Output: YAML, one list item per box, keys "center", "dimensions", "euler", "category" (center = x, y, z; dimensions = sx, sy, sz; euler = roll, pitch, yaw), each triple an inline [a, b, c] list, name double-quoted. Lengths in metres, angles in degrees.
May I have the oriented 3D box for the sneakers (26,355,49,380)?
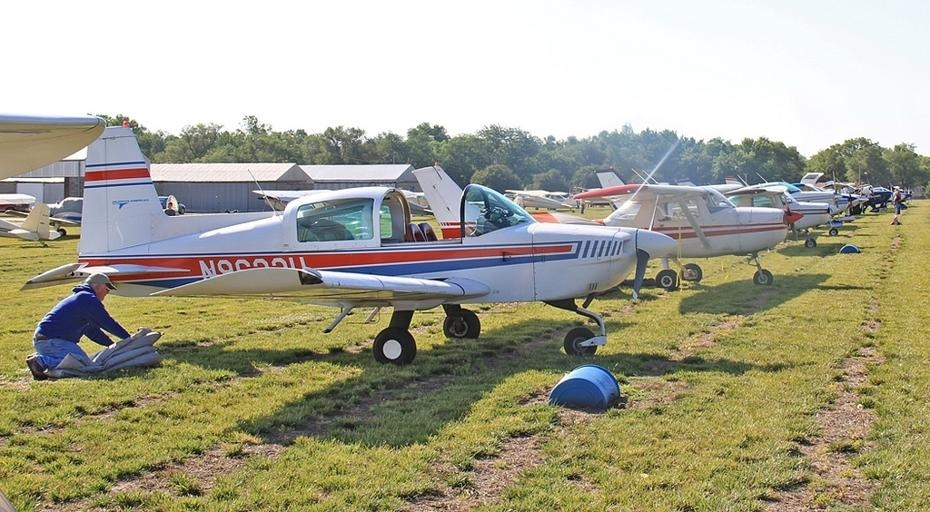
- center: [-6.523, 1.637, 10.356]
  dimensions: [0.256, 0.469, 0.189]
  euler: [-14, 3, -4]
  category: "sneakers"

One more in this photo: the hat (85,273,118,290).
- center: [-5.925, 0.396, 11.003]
  dimensions: [0.451, 0.185, 0.292]
  euler: [10, 2, -42]
  category: "hat"

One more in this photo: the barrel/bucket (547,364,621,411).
- center: [1.768, 1.901, 9.711]
  dimensions: [1.023, 0.457, 0.593]
  euler: [-7, 15, -30]
  category: "barrel/bucket"
